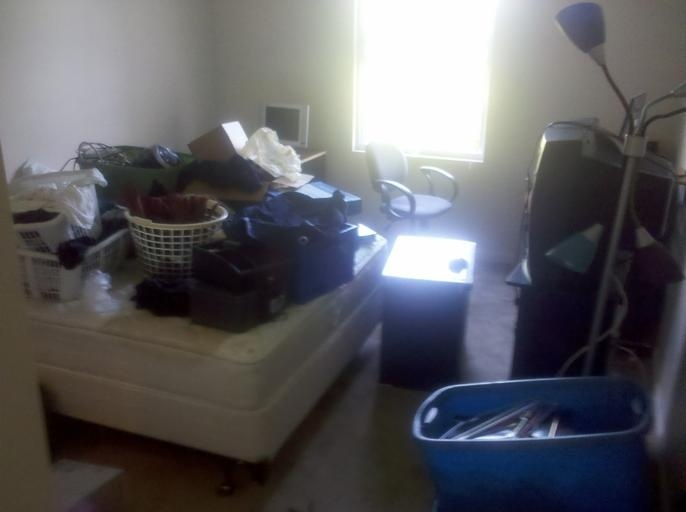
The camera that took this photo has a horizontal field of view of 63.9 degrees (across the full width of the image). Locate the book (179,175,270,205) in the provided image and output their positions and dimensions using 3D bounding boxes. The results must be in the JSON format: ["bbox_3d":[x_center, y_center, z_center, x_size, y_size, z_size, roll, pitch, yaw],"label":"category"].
[{"bbox_3d":[-0.673,-0.359,3.173,0.387,0.031,0.146,10,43,-5],"label":"book"}]

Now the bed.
[{"bbox_3d":[-0.710,0.456,2.326,0.910,0.247,1.013,9,20,18],"label":"bed"}]

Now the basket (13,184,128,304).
[{"bbox_3d":[-1.225,-0.002,2.578,0.272,0.172,0.466,5,17,2],"label":"basket"}]

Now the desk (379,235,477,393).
[{"bbox_3d":[0.408,0.238,3.136,0.587,0.895,0.918,6,29,10],"label":"desk"}]

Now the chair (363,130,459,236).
[{"bbox_3d":[0.528,-0.481,4.402,0.689,0.852,0.707,-19,22,-38],"label":"chair"}]

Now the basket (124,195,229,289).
[{"bbox_3d":[-0.776,-0.080,2.575,0.368,0.247,0.374,17,20,22],"label":"basket"}]

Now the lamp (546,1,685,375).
[{"bbox_3d":[1.153,-0.260,2.485,0.519,1.611,0.438,10,20,26],"label":"lamp"}]
